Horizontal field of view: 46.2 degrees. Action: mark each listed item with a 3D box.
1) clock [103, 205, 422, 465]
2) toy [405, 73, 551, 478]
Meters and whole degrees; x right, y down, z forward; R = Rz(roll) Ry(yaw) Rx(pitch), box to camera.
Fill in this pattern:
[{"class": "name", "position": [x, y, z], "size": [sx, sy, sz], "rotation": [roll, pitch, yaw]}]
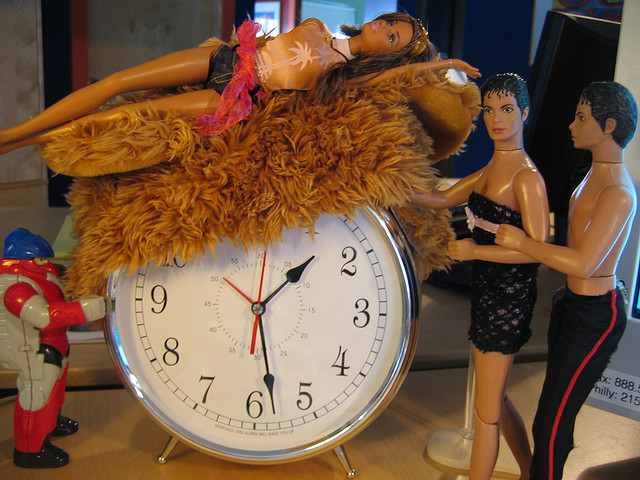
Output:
[{"class": "clock", "position": [-0.094, 0.136, 1.182], "size": [0.444, 0.431, 0.059], "rotation": [0, 5, 2]}, {"class": "toy", "position": [0.270, 0.044, 1.329], "size": [0.357, 0.787, 0.164], "rotation": [5, 8, 12]}]
